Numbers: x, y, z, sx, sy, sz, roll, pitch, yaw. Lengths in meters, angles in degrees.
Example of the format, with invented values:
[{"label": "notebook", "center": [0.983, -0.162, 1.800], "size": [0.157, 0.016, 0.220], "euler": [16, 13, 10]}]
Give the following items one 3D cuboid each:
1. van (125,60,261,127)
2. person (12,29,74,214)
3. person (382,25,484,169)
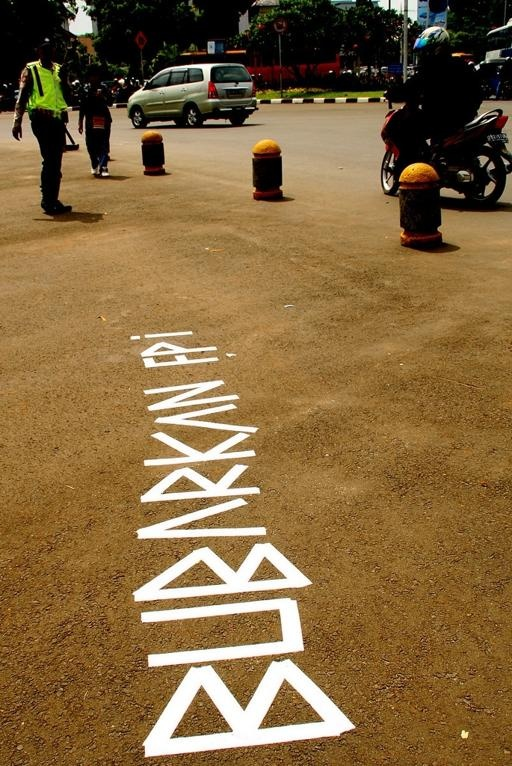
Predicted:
[{"label": "van", "center": [-2.363, -10.134, 22.650], "size": [4.328, 1.862, 2.371], "euler": [21, 37, 32]}, {"label": "person", "center": [-3.222, -3.843, 9.585], "size": [0.748, 2.560, 1.097], "euler": [-4, 17, -17]}, {"label": "person", "center": [2.508, -3.978, 9.031], "size": [1.214, 1.884, 0.656], "euler": [10, 19, 27]}]
